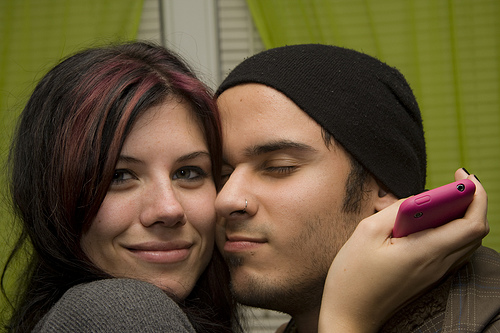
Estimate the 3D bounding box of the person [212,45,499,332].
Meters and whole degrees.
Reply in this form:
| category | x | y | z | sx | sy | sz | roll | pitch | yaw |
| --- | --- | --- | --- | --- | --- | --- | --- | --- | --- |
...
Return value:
| category | x | y | z | sx | sy | sz | roll | pitch | yaw |
| --- | --- | --- | --- | --- | --- | --- | --- | --- | --- |
| person | 0.417 | 0.058 | 2.792 | 1.214 | 1.218 | 1.479 | 4 | -14 | -26 |
